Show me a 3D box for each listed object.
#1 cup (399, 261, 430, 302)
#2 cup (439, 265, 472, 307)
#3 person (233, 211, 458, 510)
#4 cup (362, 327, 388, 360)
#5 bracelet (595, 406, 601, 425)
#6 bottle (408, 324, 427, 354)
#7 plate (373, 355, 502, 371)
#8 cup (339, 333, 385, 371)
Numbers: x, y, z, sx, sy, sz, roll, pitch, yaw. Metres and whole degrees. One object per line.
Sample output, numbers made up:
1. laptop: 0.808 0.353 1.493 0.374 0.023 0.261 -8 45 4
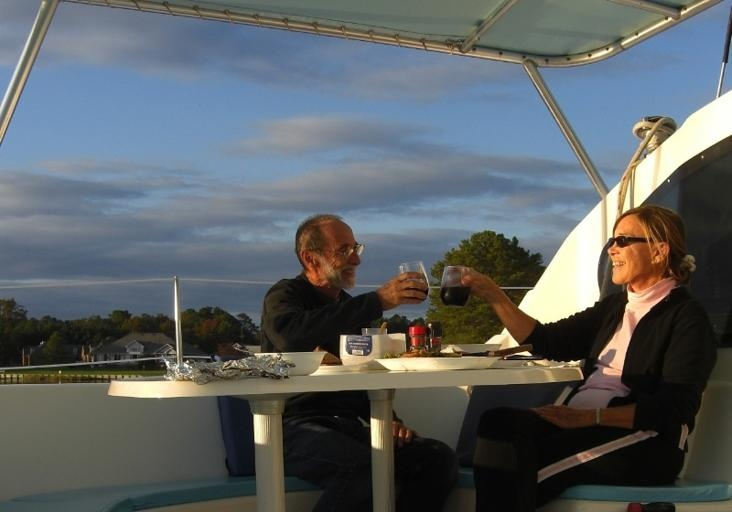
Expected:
1. cup: 0.143 0.079 2.108 0.099 0.123 0.091 -3 3 0
2. cup: 0.267 0.088 2.117 0.089 0.121 0.083 -1 -9 0
3. person: -0.053 0.313 2.335 0.692 1.049 0.663 -6 -10 29
4. cup: 0.026 0.256 2.089 0.073 0.102 0.210 -1 -10 -1
5. bracelet: 0.714 0.492 2.158 0.016 0.040 0.043 1 -7 7
6. bottle: 0.150 0.237 2.030 0.068 0.096 0.067 0 -14 0
7. plate: 0.194 0.296 1.941 0.319 0.037 0.101 0 -10 -2
8. cup: -0.002 0.273 2.045 0.143 0.101 0.104 -3 0 23
